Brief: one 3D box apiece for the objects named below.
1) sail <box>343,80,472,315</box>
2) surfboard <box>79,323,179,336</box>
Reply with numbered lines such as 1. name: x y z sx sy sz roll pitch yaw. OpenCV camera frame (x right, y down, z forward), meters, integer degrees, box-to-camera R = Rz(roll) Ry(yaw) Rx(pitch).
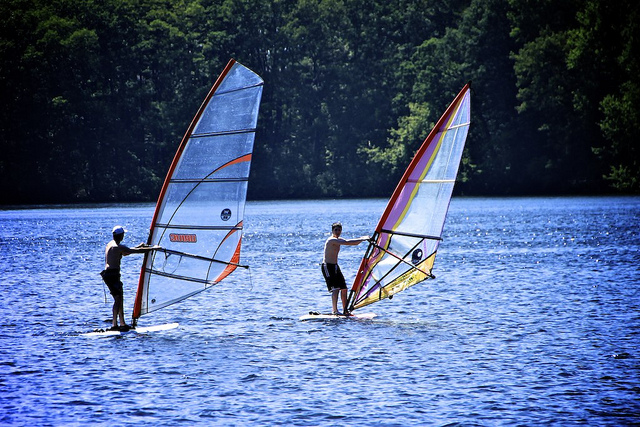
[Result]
1. sail: 4.009 -0.669 43.054 4.138 9.657 0.693 4 4 5
2. surfboard: -7.971 4.907 43.079 3.931 0.566 0.583 2 4 -10
